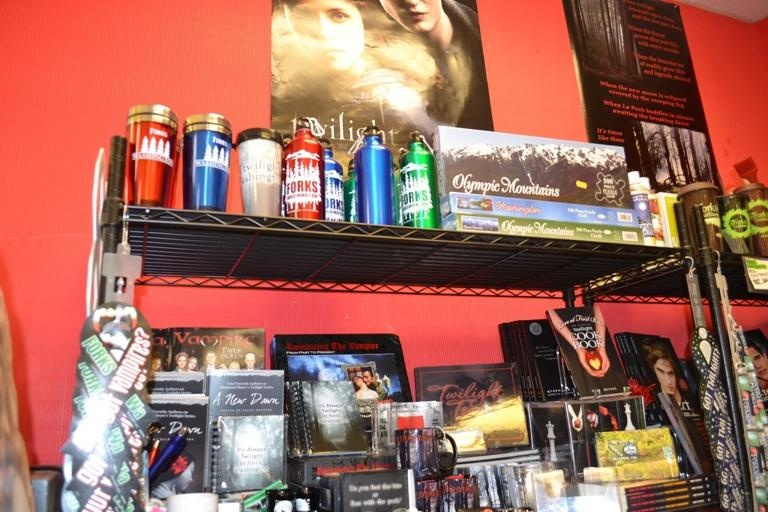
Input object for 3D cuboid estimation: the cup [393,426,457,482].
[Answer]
[{"bbox_3d":[0.136,0.623,1.959,0.213,0.152,0.130,1,-9,-13],"label":"cup"}]
